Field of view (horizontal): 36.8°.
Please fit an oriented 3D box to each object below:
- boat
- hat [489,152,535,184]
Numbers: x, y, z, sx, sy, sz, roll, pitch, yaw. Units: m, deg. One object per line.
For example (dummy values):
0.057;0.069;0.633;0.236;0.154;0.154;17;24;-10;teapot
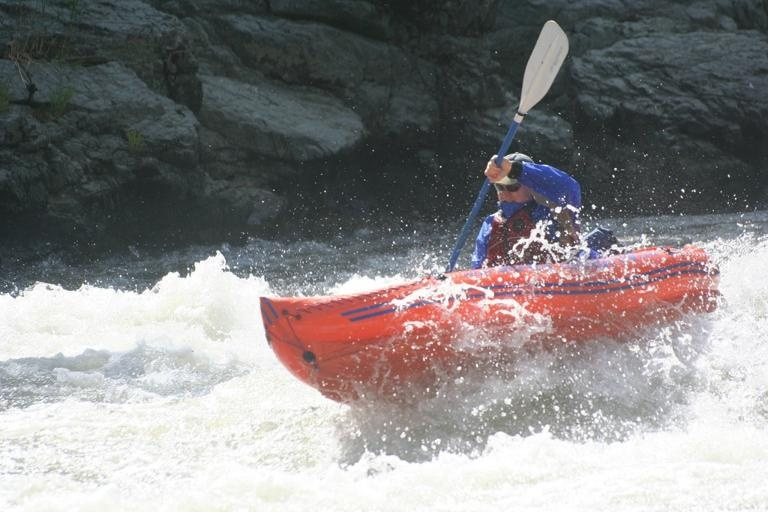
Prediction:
1.054;0.583;14.267;6.095;1.448;1.959;-8;5;-12;boat
1.612;-1.076;14.327;0.510;0.385;0.387;-11;13;-40;hat
